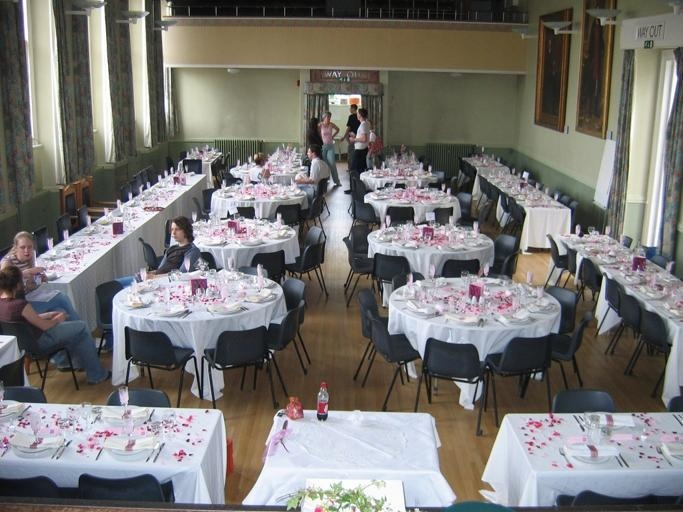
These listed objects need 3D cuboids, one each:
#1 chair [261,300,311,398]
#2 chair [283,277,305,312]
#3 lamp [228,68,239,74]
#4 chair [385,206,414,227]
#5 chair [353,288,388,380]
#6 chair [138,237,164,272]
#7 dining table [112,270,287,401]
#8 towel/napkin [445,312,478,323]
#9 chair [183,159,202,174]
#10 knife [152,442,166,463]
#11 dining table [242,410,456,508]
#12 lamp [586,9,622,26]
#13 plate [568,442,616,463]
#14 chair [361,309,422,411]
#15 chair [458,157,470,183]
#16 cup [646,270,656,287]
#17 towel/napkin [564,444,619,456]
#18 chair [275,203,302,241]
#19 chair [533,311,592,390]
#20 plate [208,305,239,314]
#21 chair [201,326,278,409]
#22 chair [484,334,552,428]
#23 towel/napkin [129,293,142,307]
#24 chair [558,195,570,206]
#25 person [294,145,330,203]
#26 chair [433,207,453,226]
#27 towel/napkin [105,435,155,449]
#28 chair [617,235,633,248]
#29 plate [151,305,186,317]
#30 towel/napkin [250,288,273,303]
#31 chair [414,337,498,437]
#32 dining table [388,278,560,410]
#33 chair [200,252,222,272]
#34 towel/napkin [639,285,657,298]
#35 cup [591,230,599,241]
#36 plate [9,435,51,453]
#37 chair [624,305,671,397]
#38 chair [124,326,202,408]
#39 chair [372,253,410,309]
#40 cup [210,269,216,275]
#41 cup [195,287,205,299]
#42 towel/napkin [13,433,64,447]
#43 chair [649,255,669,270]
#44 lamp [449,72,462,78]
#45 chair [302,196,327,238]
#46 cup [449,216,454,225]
[{"bbox_3d":[-0.704,0.985,5.731,0.513,0.990,0.535,13,17,22],"label":"chair"},{"bbox_3d":[-0.553,0.470,6.243,0.251,0.353,0.448,7,-12,16],"label":"chair"},{"bbox_3d":[-3.741,-6.342,17.478,0.389,0.185,0.656,-6,21,-11],"label":"lamp"},{"bbox_3d":[1.095,-0.759,9.575,0.369,0.562,0.452,0,2,-4],"label":"chair"},{"bbox_3d":[0.416,0.975,5.904,0.429,0.599,0.454,3,6,-13],"label":"chair"},{"bbox_3d":[-2.980,-0.015,7.872,0.360,0.562,0.337,-14,27,-36],"label":"chair"},{"bbox_3d":[-1.506,0.664,5.871,1.433,0.886,1.537,2,17,0],"label":"dining table"},{"bbox_3d":[1.261,0.644,5.362,0.347,0.040,0.217,5,22,17],"label":"towel/napkin"},{"bbox_3d":[-3.982,-2.348,13.478,0.487,0.348,0.532,-8,21,-16],"label":"chair"},{"bbox_3d":[-1.286,1.382,3.562,0.021,0.019,0.143,12,23,6],"label":"knife"},{"bbox_3d":[0.073,1.473,3.686,1.342,0.366,0.812,-3,21,-4],"label":"dining table"},{"bbox_3d":[4.934,-4.423,9.528,0.478,0.211,2.901,9,23,26],"label":"lamp"},{"bbox_3d":[1.780,1.401,3.624,0.257,0.055,0.155,1,23,2],"label":"plate"},{"bbox_3d":[0.548,1.111,5.584,0.672,1.000,0.727,1,18,8],"label":"chair"},{"bbox_3d":[3.988,-2.754,16.470,0.278,0.582,0.789,-3,19,-4],"label":"chair"},{"bbox_3d":[4.023,0.322,6.576,0.106,0.108,0.202,12,24,33],"label":"cup"},{"bbox_3d":[1.800,1.392,3.633,0.245,0.052,0.155,0,12,1],"label":"towel/napkin"},{"bbox_3d":[-0.993,-0.782,9.780,0.402,0.683,0.462,-5,24,-16],"label":"chair"},{"bbox_3d":[2.457,1.030,5.738,0.546,0.863,0.486,13,25,36],"label":"chair"},{"bbox_3d":[-1.249,0.568,5.420,0.336,0.070,0.152,-7,21,-13],"label":"plate"},{"bbox_3d":[-1.142,1.147,5.421,0.674,1.083,0.723,-9,21,-36],"label":"chair"},{"bbox_3d":[1.794,1.272,5.197,0.508,1.036,0.689,-4,32,-3],"label":"chair"},{"bbox_3d":[-2.233,0.474,5.495,0.111,0.048,0.122,1,25,-15],"label":"towel/napkin"},{"bbox_3d":[4.813,-1.187,10.985,0.144,0.339,0.309,5,1,6],"label":"chair"},{"bbox_3d":[-0.750,-1.766,12.132,0.853,1.737,0.730,6,16,16],"label":"person"},{"bbox_3d":[1.906,-0.769,9.636,0.329,0.515,0.400,0,7,3],"label":"chair"},{"bbox_3d":[-1.508,1.326,3.598,0.201,0.043,0.135,2,9,-9],"label":"towel/napkin"},{"bbox_3d":[4.698,-0.225,8.413,0.183,0.269,0.202,11,22,25],"label":"chair"},{"bbox_3d":[-1.826,0.572,5.364,0.397,0.053,0.208,0,21,4],"label":"plate"},{"bbox_3d":[-0.894,0.457,5.751,0.124,0.071,0.174,8,9,33],"label":"towel/napkin"},{"bbox_3d":[1.139,1.253,5.388,0.688,1.165,0.814,2,20,10],"label":"chair"},{"bbox_3d":[1.419,0.678,5.924,1.471,0.972,1.557,-2,20,-1],"label":"dining table"},{"bbox_3d":[-1.847,0.128,7.189,0.273,0.334,0.271,-6,49,-12],"label":"chair"},{"bbox_3d":[3.879,0.454,6.367,0.144,0.042,0.126,-4,23,-12],"label":"towel/napkin"},{"bbox_3d":[4.240,-0.337,8.497,0.141,0.172,0.246,-4,-3,22],"label":"cup"},{"bbox_3d":[-2.206,1.324,3.594,0.203,0.042,0.131,11,32,-10],"label":"plate"},{"bbox_3d":[3.777,1.017,6.194,0.419,1.089,1.087,11,24,33],"label":"chair"},{"bbox_3d":[-1.918,1.135,5.391,0.657,1.015,0.620,6,15,9],"label":"chair"},{"bbox_3d":[0.691,0.251,7.333,0.401,0.779,0.516,4,22,14],"label":"chair"},{"bbox_3d":[-1.570,0.197,6.190,0.072,0.043,0.108,-1,1,-6],"label":"cup"},{"bbox_3d":[-1.591,0.425,5.708,0.090,0.116,0.098,1,5,0],"label":"cup"},{"bbox_3d":[-2.187,1.314,3.614,0.191,0.041,0.145,4,3,-8],"label":"towel/napkin"},{"bbox_3d":[4.685,0.091,7.481,0.183,0.245,0.173,6,4,-41],"label":"chair"},{"bbox_3d":[3.915,-6.158,17.379,0.210,0.085,0.261,0,2,2],"label":"lamp"},{"bbox_3d":[-0.685,-0.771,10.701,0.557,0.618,0.727,11,23,37],"label":"chair"},{"bbox_3d":[1.812,-0.558,8.350,0.069,0.195,0.275,3,21,12],"label":"cup"}]
